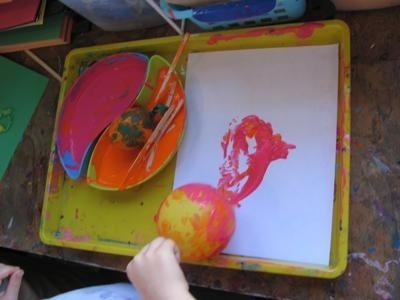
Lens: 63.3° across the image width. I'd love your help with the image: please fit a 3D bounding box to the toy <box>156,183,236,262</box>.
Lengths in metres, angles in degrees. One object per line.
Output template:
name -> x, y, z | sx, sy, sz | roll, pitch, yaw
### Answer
toy -> 0.012, 0.205, 0.974 | 0.206, 0.202, 0.251 | 10, 57, 19
